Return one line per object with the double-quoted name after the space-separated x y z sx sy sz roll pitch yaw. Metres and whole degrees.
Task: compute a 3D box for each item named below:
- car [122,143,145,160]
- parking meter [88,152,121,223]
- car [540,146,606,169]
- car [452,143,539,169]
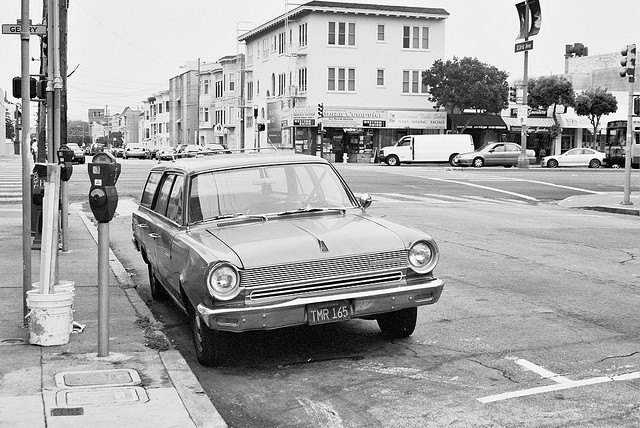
-24.308 -8.150 80.209 2.464 1.972 5.849 -1 7 -18 "car"
-2.202 -0.272 6.267 0.312 0.703 0.336 -2 -1 -7 "parking meter"
20.082 -4.641 48.793 4.575 1.531 2.011 1 1 9 "car"
13.421 -4.517 48.248 5.680 1.937 2.428 1 2 -7 "car"
